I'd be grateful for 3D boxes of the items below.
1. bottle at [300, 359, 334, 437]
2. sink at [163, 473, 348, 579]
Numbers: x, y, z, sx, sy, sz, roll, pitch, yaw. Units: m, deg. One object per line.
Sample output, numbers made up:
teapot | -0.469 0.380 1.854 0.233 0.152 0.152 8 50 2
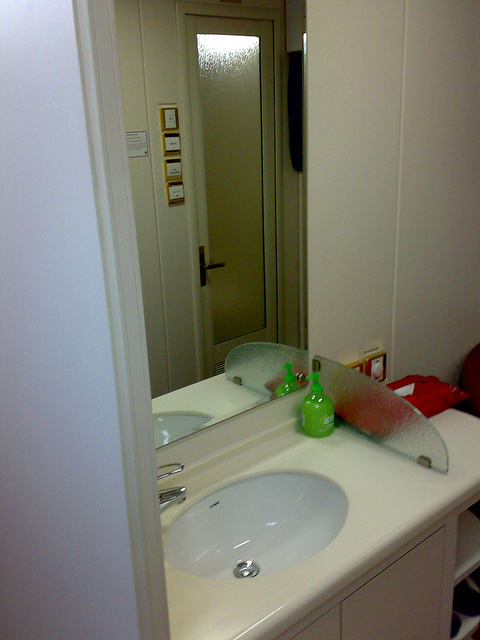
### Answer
bottle | 0.222 0.246 1.438 0.093 0.187 0.064 0 12 10
sink | 0.035 0.493 1.213 0.436 0.134 0.205 -7 16 -13
